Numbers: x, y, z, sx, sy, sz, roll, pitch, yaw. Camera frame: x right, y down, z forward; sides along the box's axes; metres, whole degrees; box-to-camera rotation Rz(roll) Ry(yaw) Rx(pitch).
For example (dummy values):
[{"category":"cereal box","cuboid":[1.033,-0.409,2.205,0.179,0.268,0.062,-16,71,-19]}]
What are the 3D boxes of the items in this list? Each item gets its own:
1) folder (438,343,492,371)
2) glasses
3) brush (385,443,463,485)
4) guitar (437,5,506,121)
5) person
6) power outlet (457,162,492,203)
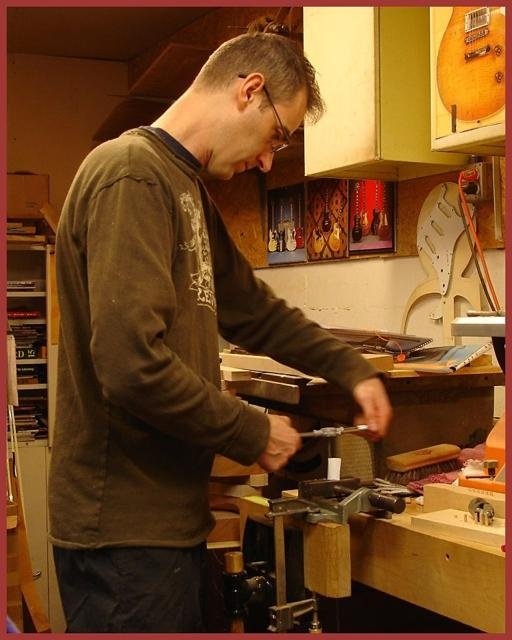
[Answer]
[{"category":"folder","cuboid":[0.550,0.097,1.565,0.117,0.059,0.260,-3,-2,19]},{"category":"glasses","cuboid":[0.022,-0.386,1.102,0.026,0.099,0.094,-18,-4,16]},{"category":"brush","cuboid":[0.368,0.314,1.300,0.187,0.056,0.083,-2,-2,-27]},{"category":"guitar","cuboid":[0.541,-0.647,1.501,0.037,0.243,0.226,-2,-2,-19]},{"category":"person","cuboid":[-0.109,-0.005,1.013,0.437,1.081,0.304,-1,-2,-39]},{"category":"power outlet","cuboid":[0.694,-0.443,1.885,0.068,0.102,0.104,-5,11,-12]}]
